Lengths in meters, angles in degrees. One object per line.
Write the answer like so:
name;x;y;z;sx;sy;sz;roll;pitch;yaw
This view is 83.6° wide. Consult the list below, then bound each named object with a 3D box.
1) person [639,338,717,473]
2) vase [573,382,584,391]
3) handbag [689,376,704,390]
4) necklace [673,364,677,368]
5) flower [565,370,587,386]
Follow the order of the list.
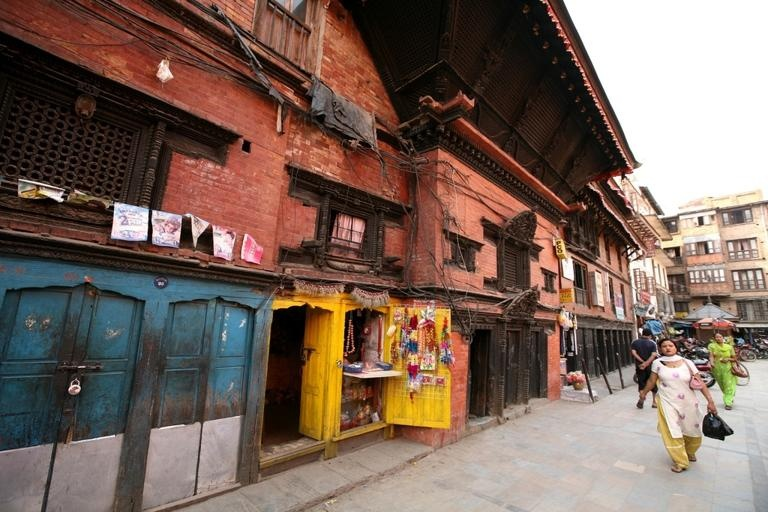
person;6.171;3.096;8.983;0.987;2.638;0.685;-1;-1;25
vase;6.647;4.489;14.737;0.275;0.197;0.272;9;-12;-41
handbag;6.303;2.587;8.731;0.286;0.279;0.204;2;-10;17
necklace;6.008;2.274;8.901;0.063;0.056;0.015;7;-20;5
flower;6.668;4.245;14.951;0.588;0.541;0.581;-1;-8;25
